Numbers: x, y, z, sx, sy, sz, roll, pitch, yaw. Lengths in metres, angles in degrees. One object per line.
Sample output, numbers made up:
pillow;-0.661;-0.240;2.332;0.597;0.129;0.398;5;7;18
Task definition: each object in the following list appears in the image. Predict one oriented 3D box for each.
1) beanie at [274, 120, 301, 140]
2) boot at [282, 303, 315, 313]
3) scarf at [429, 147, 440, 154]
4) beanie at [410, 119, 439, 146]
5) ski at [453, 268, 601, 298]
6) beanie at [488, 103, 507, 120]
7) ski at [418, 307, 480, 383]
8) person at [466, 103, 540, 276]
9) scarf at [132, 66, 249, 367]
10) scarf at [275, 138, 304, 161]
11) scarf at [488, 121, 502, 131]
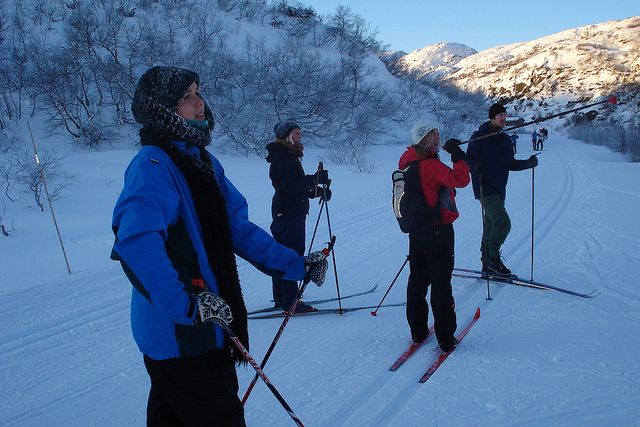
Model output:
beanie;-0.551;-1.432;8.411;0.364;0.309;0.297;-6;1;-16
boot;-0.361;1.600;8.406;0.570;0.240;0.196;-2;-9;-6
scarf;1.703;-0.959;7.407;0.126;0.036;0.128;15;-4;23
beanie;1.549;-1.289;7.521;0.360;0.347;0.373;-18;8;30
ski;3.563;1.200;8.711;2.395;0.103;0.246;10;21;25
beanie;3.172;-1.821;8.811;0.276;0.276;0.267;-6;6;27
ski;1.992;1.959;7.496;1.518;0.155;0.142;-41;13;-20
person;3.153;-0.444;8.945;1.092;3.002;1.045;8;20;22
scarf;-1.903;-0.018;6.865;1.281;4.107;0.977;12;32;7
scarf;-0.508;-1.101;8.348;0.408;0.235;0.327;29;-1;-7
scarf;3.138;-1.561;8.842;0.189;0.152;0.193;-3;6;12
